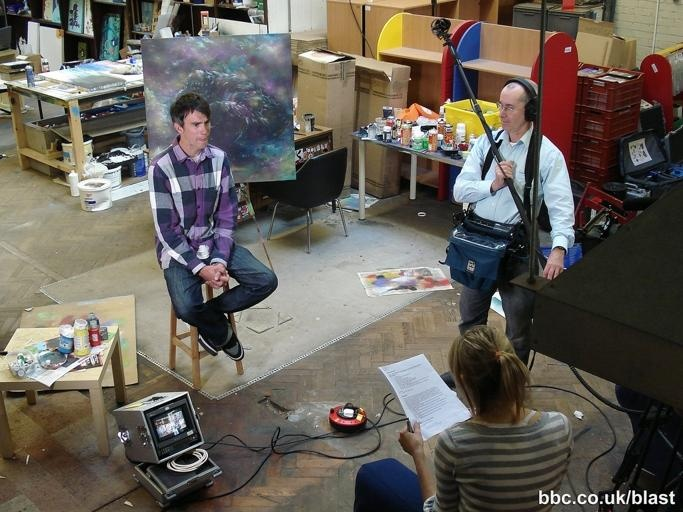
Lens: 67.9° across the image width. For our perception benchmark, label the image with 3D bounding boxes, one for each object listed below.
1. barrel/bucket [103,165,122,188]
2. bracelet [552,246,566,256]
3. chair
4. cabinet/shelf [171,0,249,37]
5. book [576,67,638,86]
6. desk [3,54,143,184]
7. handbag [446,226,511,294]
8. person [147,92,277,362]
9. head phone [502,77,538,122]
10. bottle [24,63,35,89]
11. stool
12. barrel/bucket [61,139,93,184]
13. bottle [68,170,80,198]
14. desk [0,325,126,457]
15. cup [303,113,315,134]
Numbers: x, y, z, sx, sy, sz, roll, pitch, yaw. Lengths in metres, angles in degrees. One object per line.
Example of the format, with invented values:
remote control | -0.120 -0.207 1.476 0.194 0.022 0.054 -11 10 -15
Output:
barrel/bucket | -2.863 -1.008 6.349 0.240 0.244 0.244 4 23 -2
bracelet | 1.236 -0.032 2.865 0.068 0.058 0.042 10 66 7
chair | -0.356 -0.560 5.122 0.616 0.904 0.742 28 42 31
cabinet/shelf | -2.307 -3.958 8.418 1.504 0.534 0.571 11 25 25
book | 2.495 -1.682 4.729 0.524 0.121 0.436 11 25 26
desk | -3.482 -1.700 6.826 1.628 1.278 1.776 23 37 31
handbag | 0.858 0.018 3.099 0.176 0.314 0.293 -35 52 -30
person | -0.881 -0.113 3.474 0.712 1.867 0.640 -10 25 -22
head phone | 1.056 -0.952 3.042 0.103 0.232 0.264 -30 29 -21
bottle | -3.914 -2.253 6.356 0.097 0.247 0.481 -13 26 -28
stool | -0.941 0.559 3.513 0.464 0.734 0.430 -20 37 -30
barrel/bucket | -3.253 -1.180 6.294 0.416 0.372 0.404 0 27 0
bottle | -3.263 -0.891 6.185 0.132 0.293 0.298 -12 26 -26
desk | -1.727 0.794 3.169 0.681 0.580 0.720 -3 23 -7
cup | -0.345 -1.436 5.498 0.123 0.183 0.138 -2 23 -5
